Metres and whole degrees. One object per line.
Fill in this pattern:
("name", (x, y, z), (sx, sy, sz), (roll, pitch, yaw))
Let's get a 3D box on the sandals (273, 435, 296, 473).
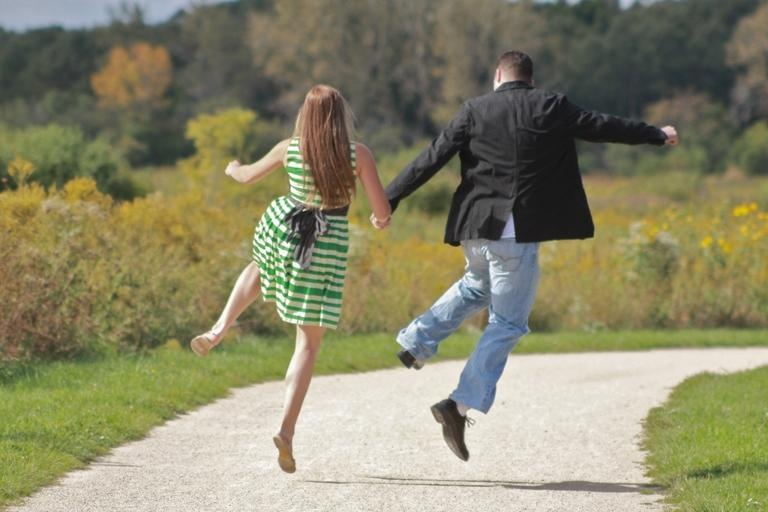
("sandals", (-1.550, 3.113, 26.174), (0.247, 0.698, 0.285), (-11, 10, 25))
